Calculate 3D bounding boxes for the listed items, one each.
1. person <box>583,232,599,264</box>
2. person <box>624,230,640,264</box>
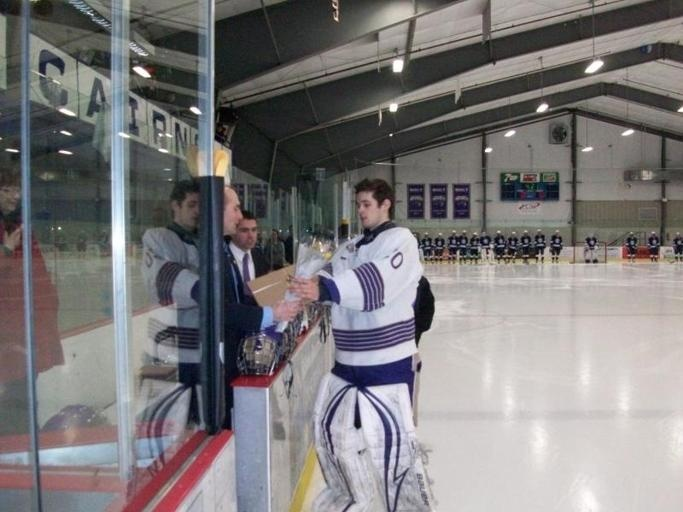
[{"bbox_3d":[8.087,-0.251,21.391,0.363,0.853,0.867,-2,1,18],"label":"person"},{"bbox_3d":[9.514,-0.313,21.589,0.264,0.873,0.891,-2,1,21],"label":"person"}]
